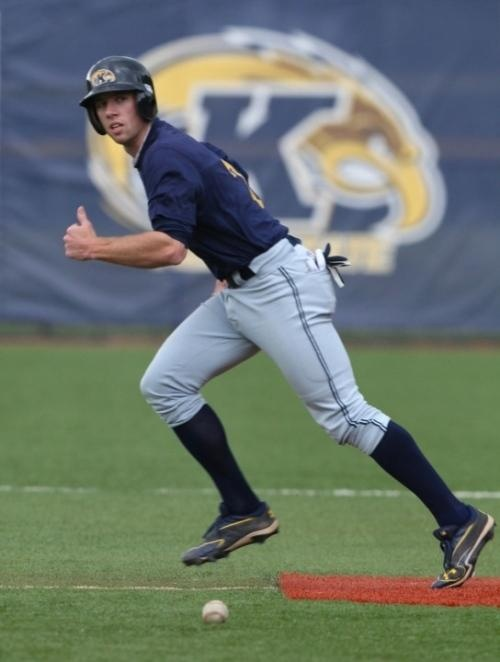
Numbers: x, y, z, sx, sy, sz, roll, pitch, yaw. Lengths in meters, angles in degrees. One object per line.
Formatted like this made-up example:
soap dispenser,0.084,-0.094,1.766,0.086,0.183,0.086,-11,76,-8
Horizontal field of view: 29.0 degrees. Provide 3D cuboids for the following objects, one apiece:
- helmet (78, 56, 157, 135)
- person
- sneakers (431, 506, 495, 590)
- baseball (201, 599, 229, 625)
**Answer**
helmet,-0.448,-0.817,3.269,0.229,0.184,0.265,-3,12,23
person,0.065,-0.037,3.294,1.310,1.745,0.503,1,6,-2
sneakers,0.709,0.738,3.232,0.171,0.273,0.241,4,6,31
baseball,-0.107,0.876,3.010,0.088,0.057,0.107,0,4,-2
